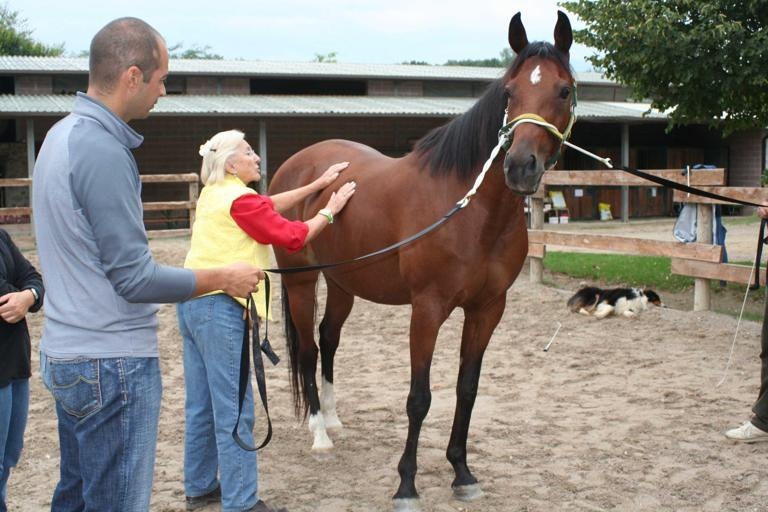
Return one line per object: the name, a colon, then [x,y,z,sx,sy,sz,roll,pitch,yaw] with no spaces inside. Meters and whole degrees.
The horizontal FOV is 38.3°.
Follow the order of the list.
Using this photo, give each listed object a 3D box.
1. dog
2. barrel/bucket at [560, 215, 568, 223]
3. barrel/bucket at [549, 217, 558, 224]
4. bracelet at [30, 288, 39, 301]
dog: [3.190,0.598,15.237,1.243,0.530,0.497,9,-15,18]
barrel/bucket: [4.253,-0.859,26.096,0.193,0.187,0.191,-1,-3,0]
barrel/bucket: [3.997,-0.826,26.051,0.157,0.145,0.155,-1,0,0]
bracelet: [-3.639,0.395,11.534,0.027,0.094,0.099,-23,-19,-19]
